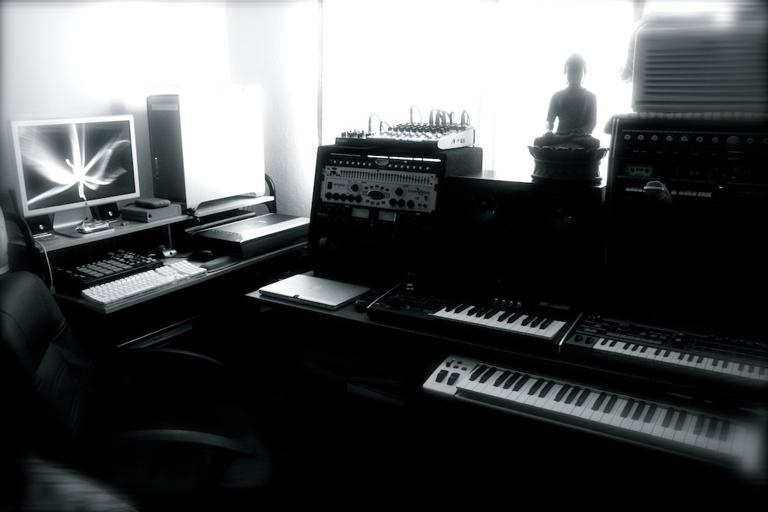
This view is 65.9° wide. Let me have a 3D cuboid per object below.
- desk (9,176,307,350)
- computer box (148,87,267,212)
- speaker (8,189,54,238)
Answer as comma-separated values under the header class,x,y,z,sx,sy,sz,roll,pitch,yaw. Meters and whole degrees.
class,x,y,z,sx,sy,sz,roll,pitch,yaw
desk,-1.283,0.200,3.377,0.923,0.811,1.423,12,26,31
computer box,-1.141,-0.670,3.869,0.411,0.606,0.734,6,9,36
speaker,-1.863,-0.230,3.103,0.163,0.264,0.155,7,29,0
